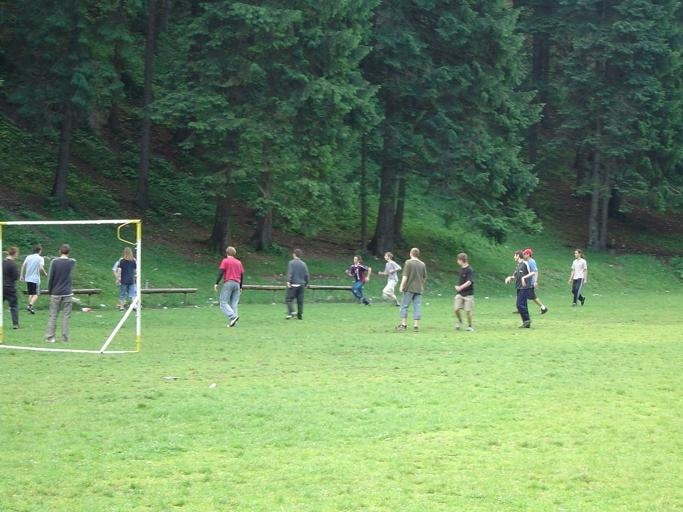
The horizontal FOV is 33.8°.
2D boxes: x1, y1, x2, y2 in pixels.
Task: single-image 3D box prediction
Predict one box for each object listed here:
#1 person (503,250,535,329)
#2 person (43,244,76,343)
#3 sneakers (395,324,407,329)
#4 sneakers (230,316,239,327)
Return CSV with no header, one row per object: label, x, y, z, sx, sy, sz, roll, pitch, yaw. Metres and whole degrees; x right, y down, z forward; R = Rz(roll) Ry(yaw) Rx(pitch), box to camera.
person,6.136,1.255,39.285,1.307,3.307,1.516,5,-22,1
person,-8.039,1.060,32.207,0.661,2.792,0.659,2,-2,-15
sneakers,1.808,2.181,34.576,0.332,0.125,0.121,1,-2,18
sneakers,-3.373,2.040,34.989,0.179,0.387,0.153,42,20,9
